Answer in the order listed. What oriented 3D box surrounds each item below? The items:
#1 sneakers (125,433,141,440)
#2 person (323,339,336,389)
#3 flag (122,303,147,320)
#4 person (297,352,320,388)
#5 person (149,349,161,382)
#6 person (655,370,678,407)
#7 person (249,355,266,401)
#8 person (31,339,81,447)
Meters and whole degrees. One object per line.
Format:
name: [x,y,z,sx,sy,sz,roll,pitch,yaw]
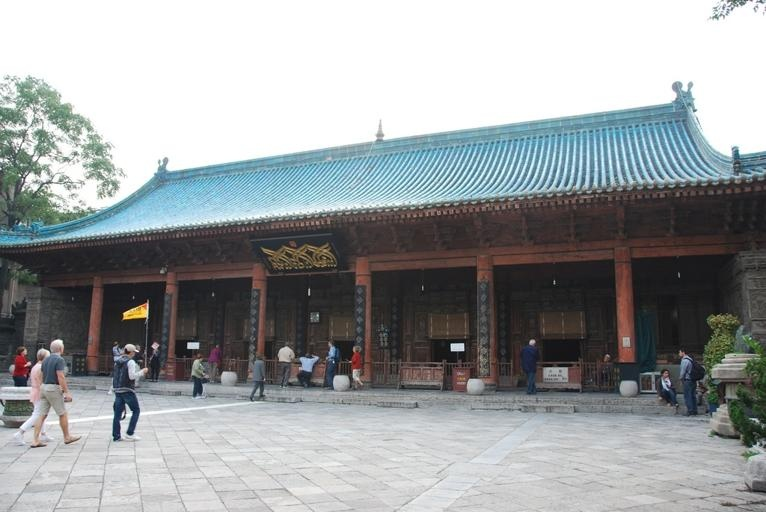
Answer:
sneakers: [-5.691,4.153,15.088,0.303,0.146,0.377,4,-12,-22]
person: [-1.914,4.037,24.457,0.440,1.755,1.218,1,-11,-5]
flag: [-10.910,2.478,29.158,1.361,0.160,1.042,8,-56,-9]
person: [-2.960,4.545,26.039,0.783,1.263,1.536,1,-11,-6]
person: [-9.348,4.507,27.229,0.433,1.268,1.879,3,-12,-18]
person: [8.584,4.052,20.108,0.556,1.131,0.827,-5,-12,22]
person: [-4.365,4.325,23.187,0.477,1.491,1.445,2,-11,-10]
person: [-7.403,3.110,15.087,0.810,2.354,1.302,5,-12,-24]
